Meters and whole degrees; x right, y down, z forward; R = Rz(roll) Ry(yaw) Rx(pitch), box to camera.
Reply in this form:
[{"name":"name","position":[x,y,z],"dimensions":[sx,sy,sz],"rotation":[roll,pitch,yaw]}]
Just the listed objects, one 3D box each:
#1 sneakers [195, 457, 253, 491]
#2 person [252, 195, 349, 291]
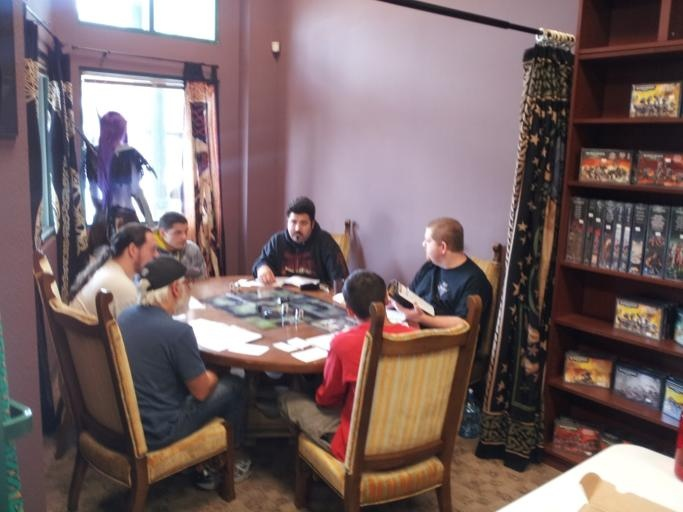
[{"name":"sneakers","position":[-0.670,1.189,3.018],"dimensions":[0.245,0.142,0.158],"rotation":[-23,41,-23]},{"name":"person","position":[-0.313,0.008,4.219],"dimensions":[0.650,0.904,0.681],"rotation":[0,19,2]}]
